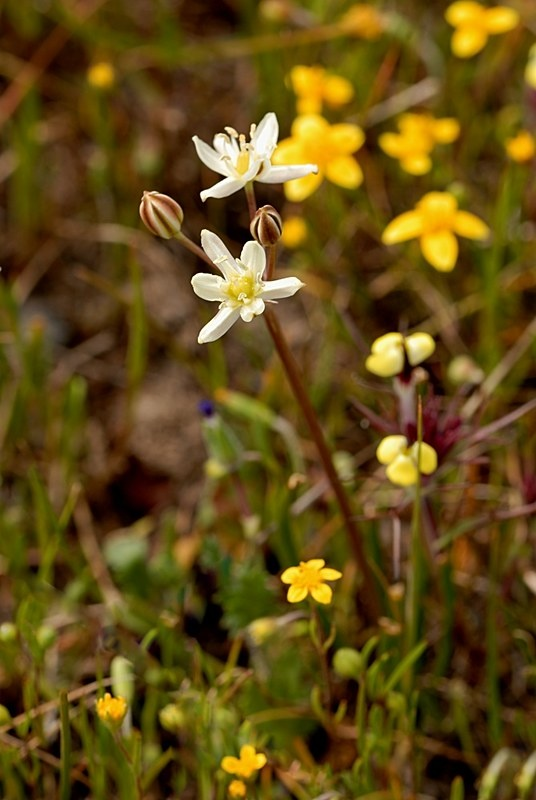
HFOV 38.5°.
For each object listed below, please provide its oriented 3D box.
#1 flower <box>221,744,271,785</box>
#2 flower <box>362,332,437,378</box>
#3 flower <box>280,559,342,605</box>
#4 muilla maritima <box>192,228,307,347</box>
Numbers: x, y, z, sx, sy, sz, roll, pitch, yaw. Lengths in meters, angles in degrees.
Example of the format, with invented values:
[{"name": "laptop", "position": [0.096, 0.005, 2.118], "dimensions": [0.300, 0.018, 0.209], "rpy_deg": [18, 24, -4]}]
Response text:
[{"name": "flower", "position": [-0.032, 0.549, 1.164], "dimensions": [0.067, 0.023, 0.063], "rpy_deg": [-29, 46, -15]}, {"name": "flower", "position": [0.214, -0.089, 1.264], "dimensions": [0.083, 0.095, 0.091], "rpy_deg": [-3, 104, -2]}, {"name": "flower", "position": [0.064, 0.296, 1.220], "dimensions": [0.097, 0.102, 0.103], "rpy_deg": [-2, 95, 3]}, {"name": "muilla maritima", "position": [-0.048, -0.162, 1.056], "dimensions": [0.142, 0.153, 0.145], "rpy_deg": [-17, 74, -4]}]
